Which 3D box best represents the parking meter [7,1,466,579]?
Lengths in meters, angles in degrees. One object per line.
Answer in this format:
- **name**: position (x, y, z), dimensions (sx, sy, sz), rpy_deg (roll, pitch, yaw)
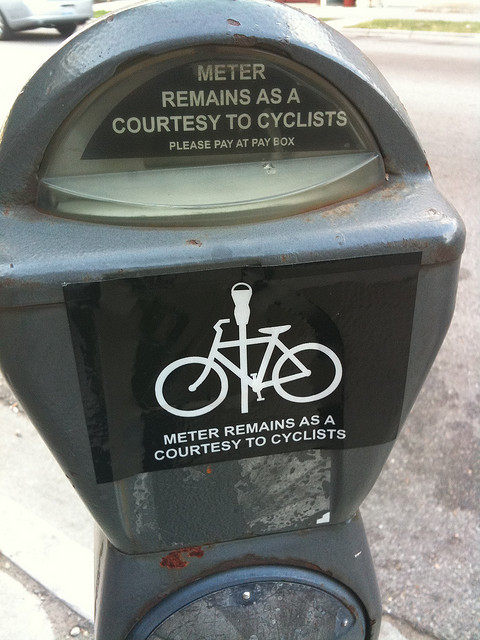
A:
- **parking meter**: position (-0.006, 0.006, 1.152), dimensions (0.735, 0.922, 0.548), rpy_deg (-11, 51, -6)
